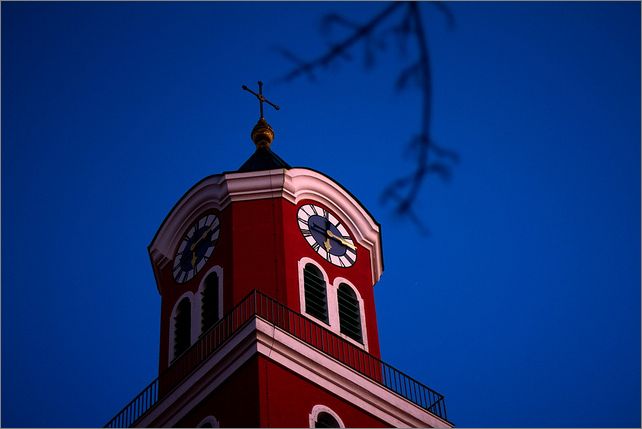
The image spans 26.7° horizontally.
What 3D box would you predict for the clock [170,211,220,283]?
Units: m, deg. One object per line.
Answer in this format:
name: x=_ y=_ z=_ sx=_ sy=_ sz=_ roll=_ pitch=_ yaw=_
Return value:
clock: x=-3.915 y=1.116 z=42.816 sx=0.137 sy=1.916 sz=1.711 roll=34 pitch=-52 yaw=-26
